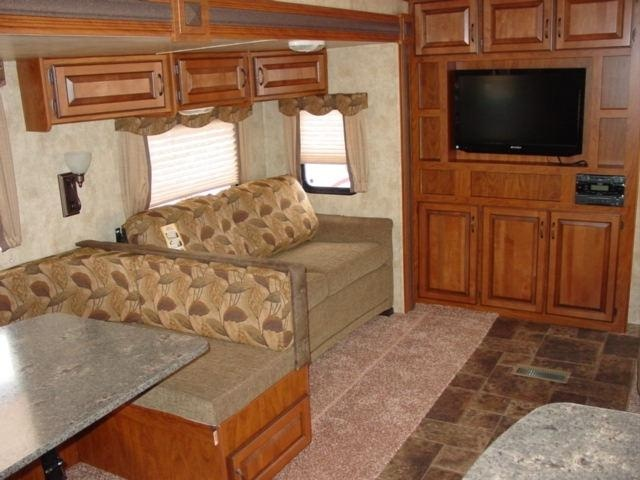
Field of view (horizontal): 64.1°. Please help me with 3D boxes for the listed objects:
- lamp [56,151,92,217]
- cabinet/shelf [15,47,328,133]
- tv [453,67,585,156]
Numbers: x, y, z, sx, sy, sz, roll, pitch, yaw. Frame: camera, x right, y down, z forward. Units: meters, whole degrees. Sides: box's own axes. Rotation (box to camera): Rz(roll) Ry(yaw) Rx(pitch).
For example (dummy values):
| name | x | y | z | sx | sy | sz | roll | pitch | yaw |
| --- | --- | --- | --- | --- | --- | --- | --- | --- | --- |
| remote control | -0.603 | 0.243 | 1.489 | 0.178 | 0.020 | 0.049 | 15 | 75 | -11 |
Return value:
| name | x | y | z | sx | sy | sz | roll | pitch | yaw |
| --- | --- | --- | --- | --- | --- | --- | --- | --- | --- |
| lamp | -1.684 | -0.380 | 3.501 | 0.163 | 0.447 | 0.224 | 13 | 24 | 41 |
| cabinet/shelf | -0.865 | -1.099 | 3.589 | 0.330 | 0.519 | 2.156 | 13 | 21 | 42 |
| tv | 1.761 | -1.125 | 4.406 | 0.963 | 0.567 | 0.060 | 7 | 22 | 27 |
